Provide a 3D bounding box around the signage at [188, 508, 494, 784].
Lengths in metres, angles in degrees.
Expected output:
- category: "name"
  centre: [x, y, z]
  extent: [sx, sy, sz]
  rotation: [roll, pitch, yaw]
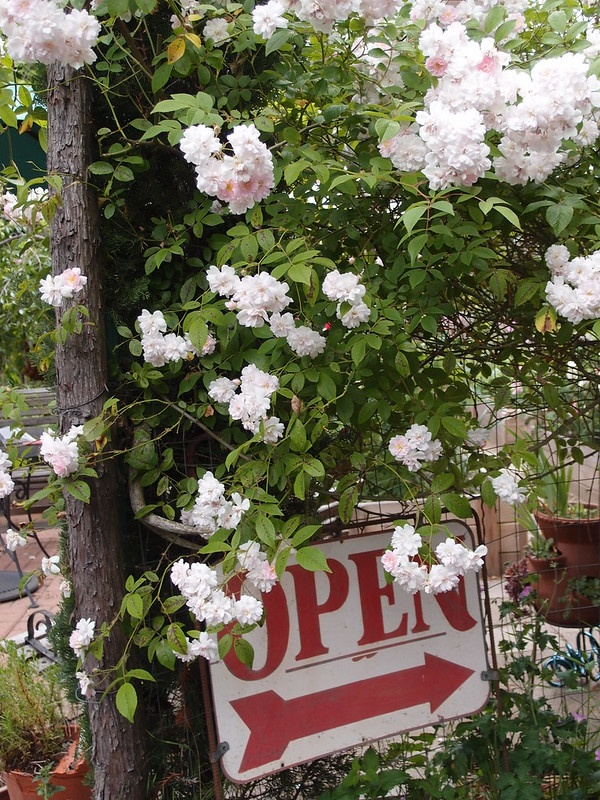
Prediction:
- category: "signage"
  centre: [0.137, 0.584, 1.760]
  extent: [0.803, 0.506, 0.015]
  rotation: [-1, -7, -31]
